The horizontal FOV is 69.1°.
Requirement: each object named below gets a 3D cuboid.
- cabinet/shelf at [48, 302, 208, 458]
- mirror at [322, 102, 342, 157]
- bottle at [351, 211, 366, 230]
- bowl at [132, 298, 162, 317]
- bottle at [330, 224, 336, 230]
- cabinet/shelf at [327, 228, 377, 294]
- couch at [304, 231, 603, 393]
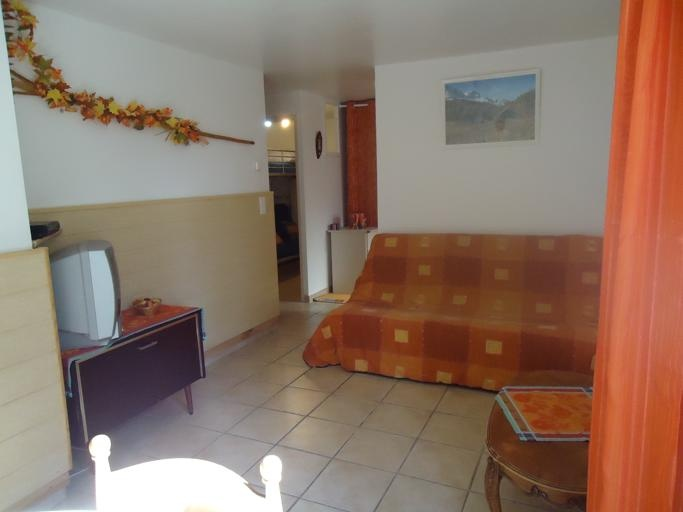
[{"bbox_3d":[-1.290,0.741,2.903,0.498,0.649,0.979,0,8,21],"label":"cabinet/shelf"},{"bbox_3d":[-0.133,-1.537,5.998,0.157,0.587,0.445,2,12,18],"label":"mirror"},{"bbox_3d":[0.212,-0.410,5.894,0.183,0.215,0.186,0,6,-9],"label":"bottle"},{"bbox_3d":[-1.184,0.308,3.046,0.113,0.055,0.117,1,1,0],"label":"bowl"},{"bbox_3d":[-0.086,-0.348,5.881,0.065,0.065,0.065,2,7,38],"label":"bottle"},{"bbox_3d":[0.194,-0.009,5.819,0.601,1.001,0.780,2,5,15],"label":"cabinet/shelf"},{"bbox_3d":[0.863,0.351,3.678,1.846,0.935,0.968,4,13,27],"label":"couch"}]
